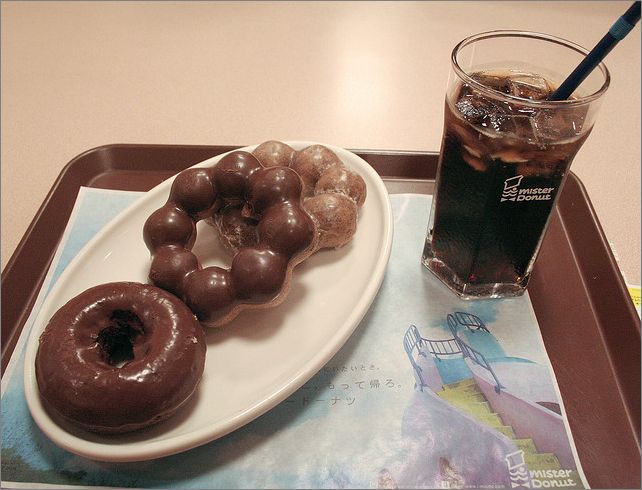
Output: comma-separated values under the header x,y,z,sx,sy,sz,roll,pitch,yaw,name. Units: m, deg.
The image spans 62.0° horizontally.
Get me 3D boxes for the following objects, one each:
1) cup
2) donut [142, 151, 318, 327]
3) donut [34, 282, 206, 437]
x,y,z,sx,sy,sz,roll,pitch,yaw,name
0.346,-0.153,1.050,0.267,0.401,0.390,20,62,17,cup
-0.137,0.027,1.107,0.329,0.094,0.327,-42,66,-8,donut
-0.344,0.189,0.918,0.267,0.095,0.255,18,62,15,donut
